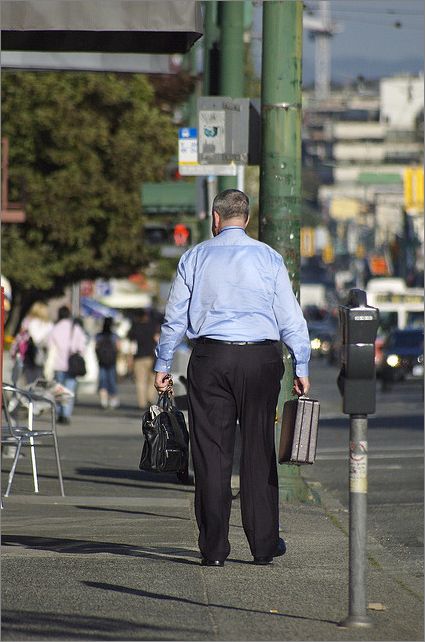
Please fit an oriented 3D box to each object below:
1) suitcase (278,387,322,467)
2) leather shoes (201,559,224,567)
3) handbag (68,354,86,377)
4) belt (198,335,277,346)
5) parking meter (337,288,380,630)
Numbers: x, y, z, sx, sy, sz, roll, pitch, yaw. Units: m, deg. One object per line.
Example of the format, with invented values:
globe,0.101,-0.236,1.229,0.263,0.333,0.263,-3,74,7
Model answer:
suitcase,0.449,0.561,7.329,0.200,0.388,0.309,0,8,2
leather shoes,0.016,1.226,7.473,0.107,0.053,0.042,4,-2,30
handbag,-1.743,0.577,18.851,0.240,0.449,0.226,0,-9,-8
belt,0.145,0.109,7.517,0.410,0.057,0.147,-1,9,-7
parking meter,0.649,0.605,6.361,0.171,1.443,0.434,1,8,6
